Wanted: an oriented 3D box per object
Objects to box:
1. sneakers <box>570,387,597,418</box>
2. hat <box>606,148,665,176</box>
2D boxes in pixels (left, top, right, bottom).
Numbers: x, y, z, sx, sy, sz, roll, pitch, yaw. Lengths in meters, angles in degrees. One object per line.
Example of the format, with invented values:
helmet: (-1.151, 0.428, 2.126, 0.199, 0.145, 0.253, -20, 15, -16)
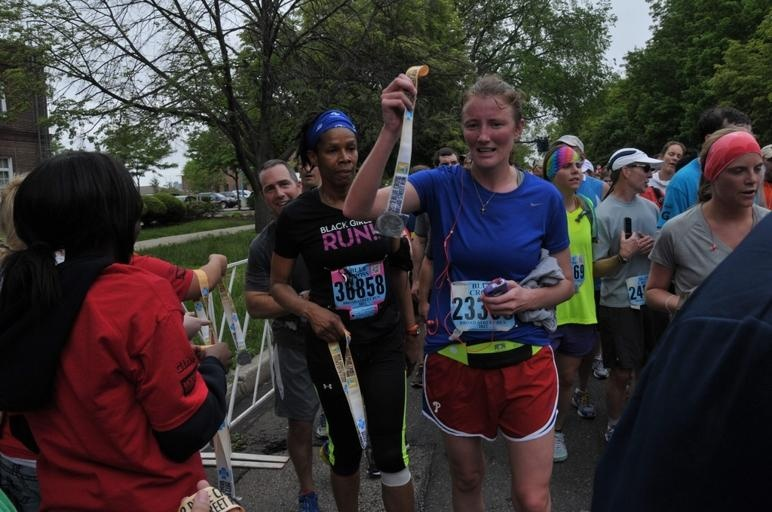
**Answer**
sneakers: (1.906, 1.407, 5.394, 0.166, 0.181, 0.393, -1, 7, 1)
hat: (2.253, -0.861, 5.033, 0.450, 0.250, 0.317, -3, 9, 19)
